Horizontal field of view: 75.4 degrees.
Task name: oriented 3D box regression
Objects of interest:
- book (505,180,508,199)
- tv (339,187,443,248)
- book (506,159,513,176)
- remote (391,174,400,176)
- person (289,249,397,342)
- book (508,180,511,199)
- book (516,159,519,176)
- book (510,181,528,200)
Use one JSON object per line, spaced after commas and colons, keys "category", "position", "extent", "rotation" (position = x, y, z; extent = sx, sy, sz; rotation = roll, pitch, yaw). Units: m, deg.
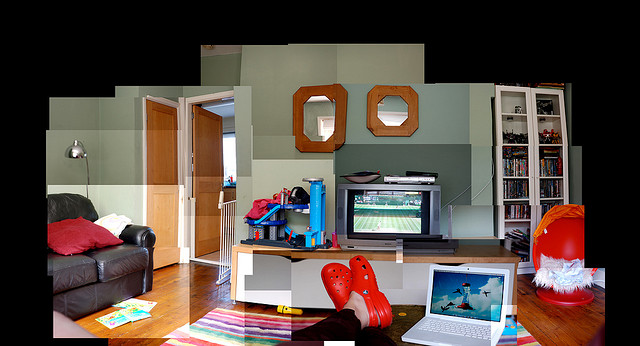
{"category": "book", "position": [1.960, 0.171, 4.360], "extent": [0.034, 0.197, 0.014], "rotation": [1, 2, -7]}
{"category": "tv", "position": [0.870, 0.449, 4.259], "extent": [1.205, 0.610, 0.664], "rotation": [-4, -8, 34]}
{"category": "book", "position": [2.007, -0.063, 4.389], "extent": [0.075, 0.166, 0.037], "rotation": [0, 2, -27]}
{"category": "remote", "position": [0.761, 0.019, 4.205], "extent": [0.062, 0.010, 0.237], "rotation": [1, 1, 13]}
{"category": "person", "position": [0.226, 1.093, 3.669], "extent": [0.829, 0.698, 0.797], "rotation": [1, 1, -1]}
{"category": "book", "position": [1.996, 0.148, 4.373], "extent": [0.036, 0.152, 0.003], "rotation": [0, 2, -16]}
{"category": "book", "position": [2.096, -0.054, 4.401], "extent": [0.029, 0.173, 0.042], "rotation": [2, 2, 24]}
{"category": "book", "position": [2.101, 0.176, 4.385], "extent": [0.242, 0.200, 0.119], "rotation": [2, -3, -7]}
